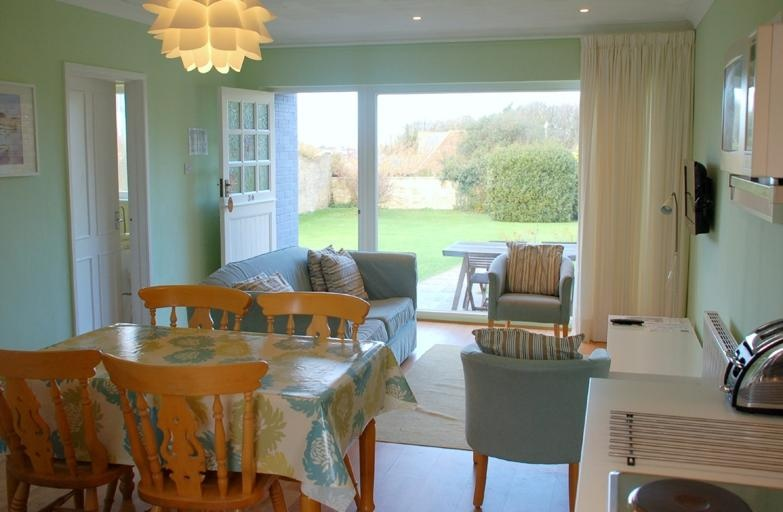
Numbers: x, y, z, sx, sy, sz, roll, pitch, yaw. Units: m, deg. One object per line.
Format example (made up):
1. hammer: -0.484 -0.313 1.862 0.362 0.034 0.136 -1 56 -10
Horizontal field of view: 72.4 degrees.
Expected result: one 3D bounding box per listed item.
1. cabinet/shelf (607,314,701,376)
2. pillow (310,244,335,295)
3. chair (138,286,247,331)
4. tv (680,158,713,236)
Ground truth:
1. cabinet/shelf: 2.149 0.739 4.337 0.410 0.380 0.770 0 21 14
2. pillow: -0.735 0.139 5.308 0.129 0.359 0.354 -8 -4 40
3. chair: -1.349 0.352 3.651 0.460 0.472 0.316 1 5 -2
4. tv: 2.695 -0.518 4.682 0.234 0.636 0.791 8 15 28
